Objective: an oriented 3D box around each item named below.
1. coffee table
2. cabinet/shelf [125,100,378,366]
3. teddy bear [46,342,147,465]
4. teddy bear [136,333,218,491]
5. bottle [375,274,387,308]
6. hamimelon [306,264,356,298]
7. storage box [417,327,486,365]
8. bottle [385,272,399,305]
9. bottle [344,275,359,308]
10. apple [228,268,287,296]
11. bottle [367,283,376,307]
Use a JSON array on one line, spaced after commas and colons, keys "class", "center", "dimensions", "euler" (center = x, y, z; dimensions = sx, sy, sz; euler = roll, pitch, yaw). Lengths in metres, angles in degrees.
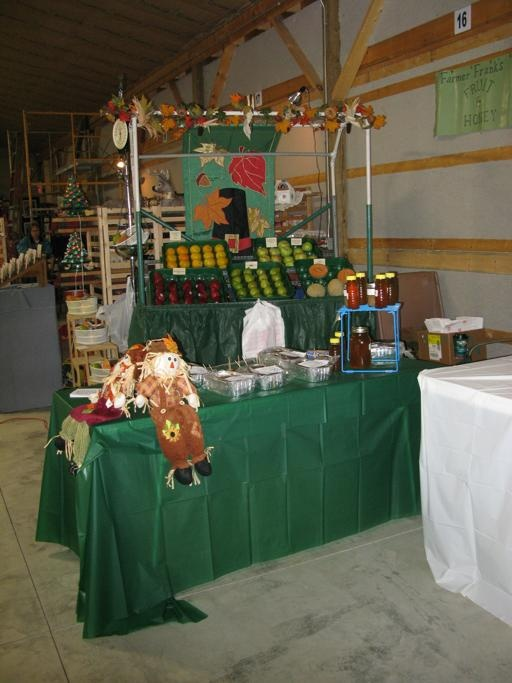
[{"class": "coffee table", "center": [-1.264, 0.045, 4.038], "dimensions": [0.227, 0.679, 0.644], "euler": [-10, -1, -38]}, {"class": "cabinet/shelf", "center": [-0.048, -1.243, 4.134], "dimensions": [1.824, 1.322, 1.049], "euler": [-4, 36, -4]}, {"class": "teddy bear", "center": [-0.545, 0.225, 1.839], "dimensions": [0.256, 0.413, 0.404], "euler": [-5, 5, -31]}, {"class": "teddy bear", "center": [-0.288, 0.229, 1.807], "dimensions": [0.260, 0.490, 0.211], "euler": [-16, 1, -27]}, {"class": "bottle", "center": [0.562, -0.226, 2.356], "dimensions": [0.061, 0.158, 0.057], "euler": [-3, 4, 0]}, {"class": "hamimelon", "center": [0.498, -0.420, 3.743], "dimensions": [0.291, 0.119, 0.312], "euler": [10, 27, 27]}, {"class": "storage box", "center": [0.943, 0.035, 2.598], "dimensions": [0.296, 0.145, 0.199], "euler": [-4, 8, -28]}, {"class": "bottle", "center": [0.618, -0.243, 2.390], "dimensions": [0.038, 0.150, 0.127], "euler": [0, 5, 32]}, {"class": "bottle", "center": [0.435, -0.223, 2.380], "dimensions": [0.067, 0.150, 0.103], "euler": [-2, 4, 9]}, {"class": "apple", "center": [0.015, -0.424, 3.734], "dimensions": [0.408, 0.254, 0.307], "euler": [-3, 4, -3]}, {"class": "bottle", "center": [0.522, -0.210, 2.377], "dimensions": [0.021, 0.105, 0.061], "euler": [-5, 5, -29]}]
